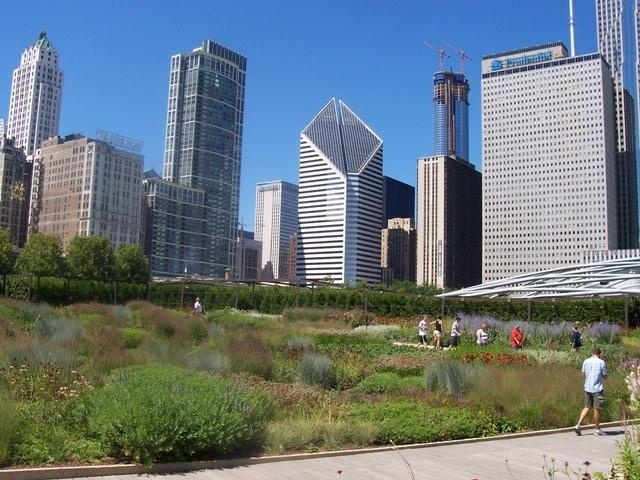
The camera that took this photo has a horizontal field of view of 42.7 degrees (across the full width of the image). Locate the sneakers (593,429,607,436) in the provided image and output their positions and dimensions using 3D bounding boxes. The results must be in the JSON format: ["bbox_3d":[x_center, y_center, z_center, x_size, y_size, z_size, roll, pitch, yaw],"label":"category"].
[{"bbox_3d":[8.792,6.008,25.614,0.418,0.210,0.150,0,3,-30],"label":"sneakers"}]
